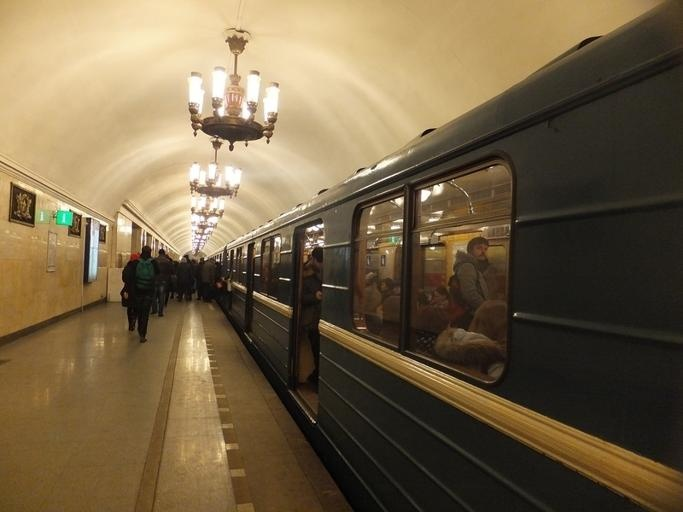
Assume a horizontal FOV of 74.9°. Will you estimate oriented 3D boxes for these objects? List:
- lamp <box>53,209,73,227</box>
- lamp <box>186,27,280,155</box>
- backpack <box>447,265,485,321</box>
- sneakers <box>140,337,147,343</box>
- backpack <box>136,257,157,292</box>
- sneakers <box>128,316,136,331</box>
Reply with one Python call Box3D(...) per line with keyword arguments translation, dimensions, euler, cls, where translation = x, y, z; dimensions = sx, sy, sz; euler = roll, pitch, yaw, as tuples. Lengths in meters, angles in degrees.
Box3D(translation=(-7.578, -1.044, 12.060), dimensions=(0.466, 0.506, 0.493), euler=(0, -6, -13), cls="lamp")
Box3D(translation=(-1.834, -2.798, 7.575), dimensions=(1.442, 2.055, 1.489), euler=(-3, -6, 37), cls="lamp")
Box3D(translation=(0.759, 0.215, 2.670), dimensions=(0.174, 0.351, 0.299), euler=(1, 5, -12), cls="backpack")
Box3D(translation=(-4.578, 1.921, 10.268), dimensions=(0.093, 0.094, 0.120), euler=(0, -2, -25), cls="sneakers")
Box3D(translation=(-4.552, 0.407, 10.299), dimensions=(0.426, 0.805, 0.202), euler=(4, -1, -36), cls="backpack")
Box3D(translation=(-5.453, 1.719, 11.549), dimensions=(0.134, 0.442, 0.179), euler=(7, 15, -25), cls="sneakers")
